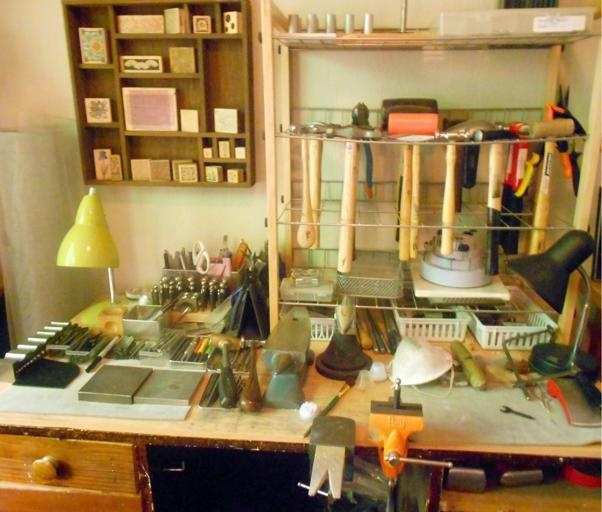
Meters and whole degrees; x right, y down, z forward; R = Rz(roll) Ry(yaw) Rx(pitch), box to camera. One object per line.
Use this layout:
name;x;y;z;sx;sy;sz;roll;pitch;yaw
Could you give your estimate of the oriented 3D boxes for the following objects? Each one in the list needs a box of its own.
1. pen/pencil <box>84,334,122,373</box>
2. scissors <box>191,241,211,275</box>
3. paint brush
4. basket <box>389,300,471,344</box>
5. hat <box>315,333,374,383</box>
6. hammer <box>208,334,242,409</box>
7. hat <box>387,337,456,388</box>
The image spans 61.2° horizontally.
pen/pencil;-0.645;0.314;1.662;0.026;0.019;0.158;22;34;10
scissors;-0.390;-0.014;1.977;0.070;0.139;0.261;-6;17;-12
paint brush;0.084;0.412;1.434;0.043;0.057;0.299;7;19;27
basket;0.463;0.186;1.832;0.272;0.128;0.232;7;14;10
hat;0.134;0.302;1.654;0.170;0.134;0.181;18;22;37
hammer;-0.212;0.333;1.464;0.091;0.203;0.080;-2;2;19
hat;0.355;0.304;1.577;0.201;0.126;0.215;2;16;9
